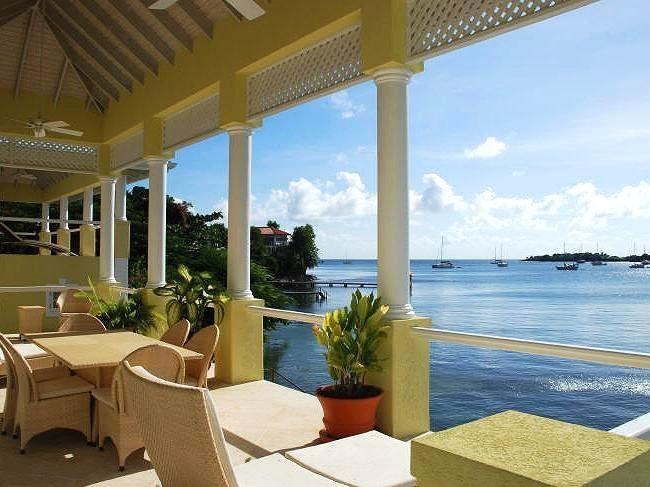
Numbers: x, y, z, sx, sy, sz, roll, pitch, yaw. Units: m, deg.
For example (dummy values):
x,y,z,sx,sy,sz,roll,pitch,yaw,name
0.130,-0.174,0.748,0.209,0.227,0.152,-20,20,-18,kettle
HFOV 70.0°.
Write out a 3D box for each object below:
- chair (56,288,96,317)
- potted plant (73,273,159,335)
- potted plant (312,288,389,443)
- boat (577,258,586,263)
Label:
x,y,z,sx,sy,sz,roll,pitch,yaw,name
-4.112,0.976,7.763,0.525,0.638,0.623,3,-7,-31,chair
-3.209,1.056,7.321,1.309,0.923,1.305,8,-8,-36,potted plant
0.186,1.039,3.847,0.505,1.210,0.545,7,-7,-28,potted plant
41.813,2.917,76.084,1.275,0.729,0.556,0,-1,8,boat
